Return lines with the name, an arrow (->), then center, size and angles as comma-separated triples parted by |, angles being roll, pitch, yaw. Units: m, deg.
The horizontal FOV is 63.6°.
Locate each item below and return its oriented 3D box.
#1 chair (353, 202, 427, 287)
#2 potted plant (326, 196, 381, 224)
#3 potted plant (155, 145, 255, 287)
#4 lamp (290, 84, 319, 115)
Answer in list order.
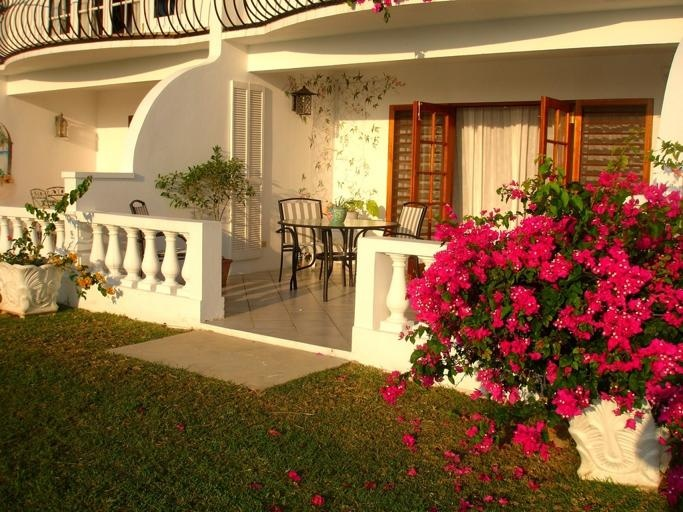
chair -> 0.853, -0.283, 7.602 | 0.907, 1.402, 0.739 | -1, 5, -42
potted plant -> 0.185, -0.660, 8.000 | 0.599, 0.294, 0.603 | -2, 4, -27
potted plant -> -1.819, -0.667, 7.588 | 0.898, 1.902, 1.400 | -5, 1, 24
lamp -> -0.597, -2.286, 8.345 | 0.417, 0.573, 0.417 | 7, 7, 43
